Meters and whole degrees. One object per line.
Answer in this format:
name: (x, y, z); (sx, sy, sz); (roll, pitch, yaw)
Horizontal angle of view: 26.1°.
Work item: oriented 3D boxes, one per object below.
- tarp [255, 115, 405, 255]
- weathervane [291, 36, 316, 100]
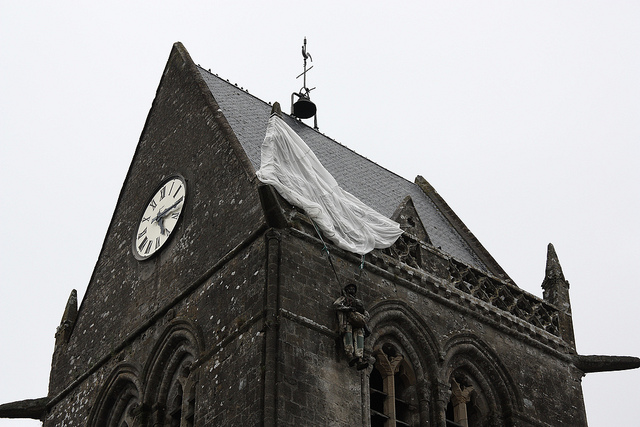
tarp: (-0.593, -0.713, 42.461); (4.078, 4.161, 2.755); (-6, -2, -42)
weathervane: (-0.555, -5.366, 50.893); (0.595, 0.882, 2.364); (-5, -63, -12)
